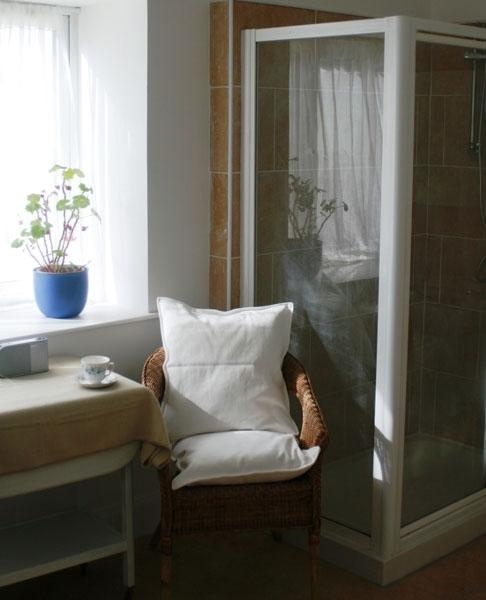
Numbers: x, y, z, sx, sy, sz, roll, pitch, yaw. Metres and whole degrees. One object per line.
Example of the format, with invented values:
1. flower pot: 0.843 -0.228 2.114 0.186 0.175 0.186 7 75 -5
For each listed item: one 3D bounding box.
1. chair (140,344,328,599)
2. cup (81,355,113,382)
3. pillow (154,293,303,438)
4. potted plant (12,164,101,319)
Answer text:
1. chair: 0.030 0.437 1.784 0.507 0.960 0.628 -1 -1 -9
2. cup: -0.397 0.181 1.458 0.068 0.065 0.072 2 10 0
3. pillow: -0.041 0.227 1.724 0.355 0.465 0.163 1 -29 -10
4. potted plant: -0.716 -0.192 2.017 0.252 0.571 0.281 -7 -4 33
